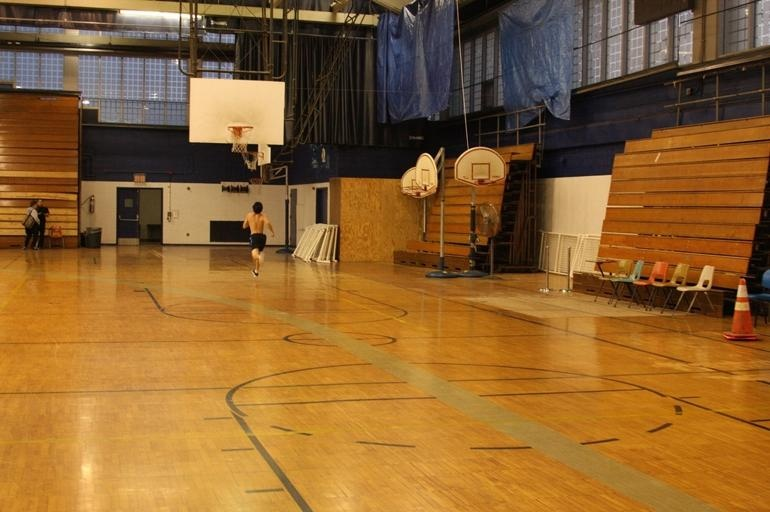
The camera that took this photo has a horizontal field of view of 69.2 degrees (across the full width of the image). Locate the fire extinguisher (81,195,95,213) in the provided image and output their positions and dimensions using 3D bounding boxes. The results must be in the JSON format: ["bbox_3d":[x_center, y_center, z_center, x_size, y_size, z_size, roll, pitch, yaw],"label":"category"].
[{"bbox_3d":[-13.016,-2.273,24.536,0.469,0.855,0.171,1,9,-26],"label":"fire extinguisher"}]

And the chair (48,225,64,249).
[{"bbox_3d":[-12.775,-0.770,21.675,0.548,0.855,0.236,2,9,-20],"label":"chair"}]

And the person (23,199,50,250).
[{"bbox_3d":[-13.033,-1.172,20.875,0.792,1.816,1.480,0,8,-29],"label":"person"}]

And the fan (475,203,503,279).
[{"bbox_3d":[2.630,-0.422,14.220,0.516,1.815,1.836,6,8,12],"label":"fan"}]

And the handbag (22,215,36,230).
[{"bbox_3d":[-12.941,-1.241,20.273,0.434,0.528,0.261,4,8,-1],"label":"handbag"}]
